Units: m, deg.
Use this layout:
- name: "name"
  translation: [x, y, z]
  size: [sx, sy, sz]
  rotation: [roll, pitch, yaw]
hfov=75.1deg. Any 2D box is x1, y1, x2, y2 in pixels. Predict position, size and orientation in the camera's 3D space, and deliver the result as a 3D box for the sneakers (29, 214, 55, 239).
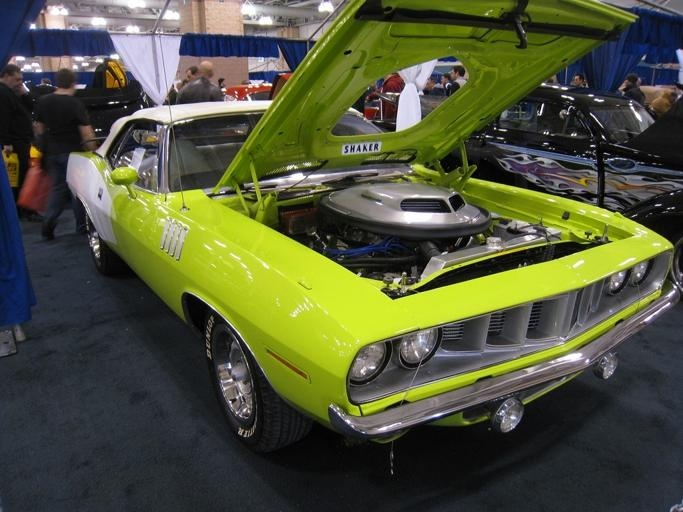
- name: "sneakers"
  translation: [-3.706, -0.348, 5.502]
  size: [0.631, 0.240, 0.219]
  rotation: [16, 21, 36]
